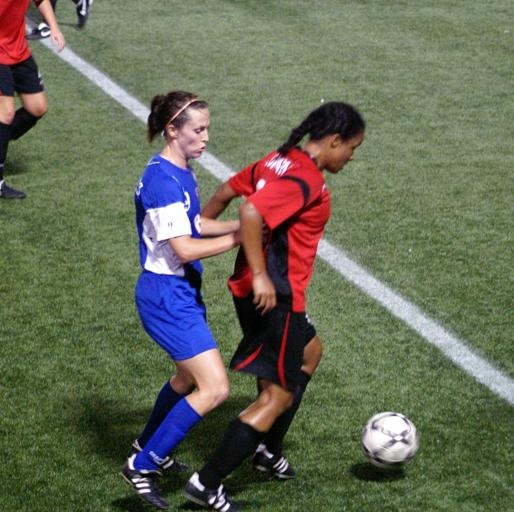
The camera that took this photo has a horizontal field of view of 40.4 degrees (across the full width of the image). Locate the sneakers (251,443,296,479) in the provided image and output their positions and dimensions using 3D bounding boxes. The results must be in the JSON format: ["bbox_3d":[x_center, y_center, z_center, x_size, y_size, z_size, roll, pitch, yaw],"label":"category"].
[{"bbox_3d":[0.097,1.017,3.440,0.254,0.118,0.095,25,-8,-27],"label":"sneakers"}]

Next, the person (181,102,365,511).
[{"bbox_3d":[0.053,0.248,3.166,0.593,1.764,1.002,9,27,0],"label":"person"}]

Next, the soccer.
[{"bbox_3d":[0.661,0.922,3.482,0.271,0.205,0.202,16,28,12],"label":"soccer"}]
